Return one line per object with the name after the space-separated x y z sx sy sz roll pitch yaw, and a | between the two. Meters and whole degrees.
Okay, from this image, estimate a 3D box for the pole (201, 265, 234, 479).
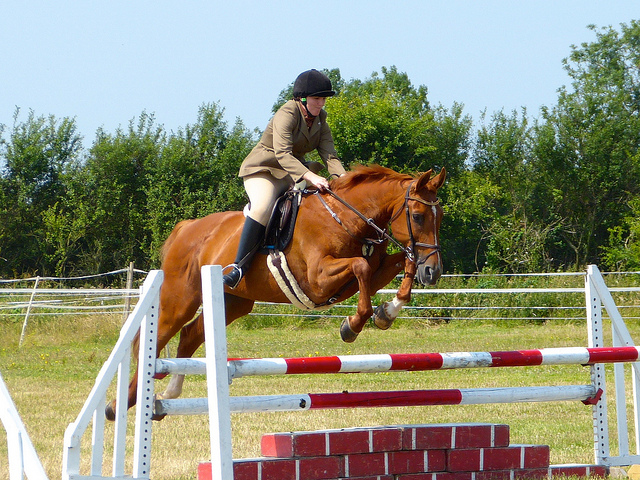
-1.195 1.548 11.444 0.276 2.499 0.326 -4 -8 -10 | pole

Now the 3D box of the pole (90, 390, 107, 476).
-2.649 2.345 11.754 0.209 0.972 0.446 -3 -8 -14 | pole

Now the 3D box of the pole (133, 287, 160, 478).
-2.074 1.726 11.658 0.475 2.199 0.221 -9 -9 31 | pole

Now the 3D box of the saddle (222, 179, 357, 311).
-0.456 0.079 13.048 1.440 1.757 0.432 -6 -7 1 | saddle

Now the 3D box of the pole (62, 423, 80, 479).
-2.946 2.504 11.554 0.305 0.640 0.188 -9 -9 29 | pole
